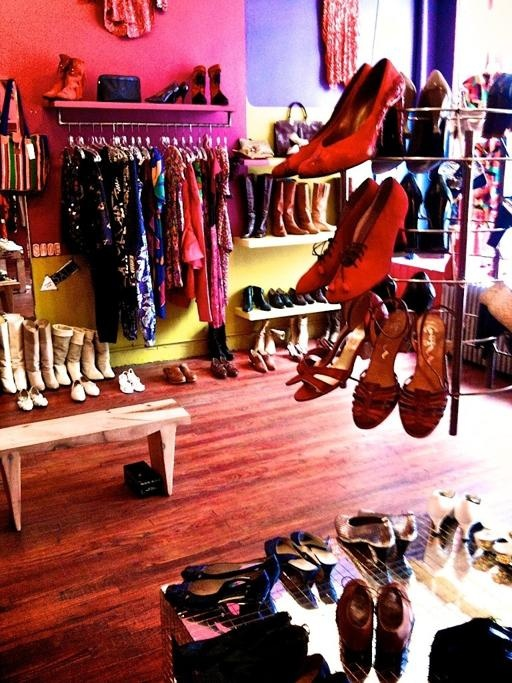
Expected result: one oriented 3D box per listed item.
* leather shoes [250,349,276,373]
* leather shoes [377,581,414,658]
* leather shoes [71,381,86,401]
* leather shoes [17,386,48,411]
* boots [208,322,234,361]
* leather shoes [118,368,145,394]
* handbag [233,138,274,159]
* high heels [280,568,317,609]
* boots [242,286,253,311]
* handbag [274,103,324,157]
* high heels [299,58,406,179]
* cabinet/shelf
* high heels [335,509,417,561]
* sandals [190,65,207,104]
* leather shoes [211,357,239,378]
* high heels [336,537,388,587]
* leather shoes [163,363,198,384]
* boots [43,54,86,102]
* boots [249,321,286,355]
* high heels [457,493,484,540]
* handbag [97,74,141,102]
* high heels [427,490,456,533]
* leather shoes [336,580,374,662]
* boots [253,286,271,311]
[{"bbox_3d":[0.044,0.175,4.507,0.137,0.084,0.249,-8,39,-42],"label":"leather shoes"},{"bbox_3d":[0.301,0.600,1.121,0.053,0.062,0.158,-11,30,11],"label":"leather shoes"},{"bbox_3d":[-1.334,0.367,3.765,0.074,0.070,0.190,-6,30,-16],"label":"leather shoes"},{"bbox_3d":[-1.645,0.419,3.676,0.141,0.061,0.192,-17,24,-29],"label":"leather shoes"},{"bbox_3d":[-0.329,0.015,4.724,0.227,0.321,0.395,1,9,-17],"label":"boots"},{"bbox_3d":[-1.011,0.318,4.029,0.134,0.053,0.222,-4,29,-22],"label":"leather shoes"},{"bbox_3d":[-0.029,-1.689,4.484,0.327,0.213,0.257,3,8,1],"label":"handbag"},{"bbox_3d":[0.109,0.618,1.287,0.035,0.047,0.119,-16,28,-24],"label":"high heels"},{"bbox_3d":[-0.088,-0.390,4.804,0.080,0.266,0.106,-1,-23,0],"label":"boots"},{"bbox_3d":[0.395,-2.005,4.797,0.449,0.451,0.164,-5,15,-8],"label":"handbag"},{"bbox_3d":[0.186,-0.421,0.966,0.294,0.124,0.098,-41,29,-21],"label":"high heels"},{"bbox_3d":[0.147,-0.828,3.983,1.407,1.330,0.465,-12,23,-32],"label":"cabinet/shelf"},{"bbox_3d":[0.362,0.586,1.578,0.114,0.083,0.190,-5,11,-21],"label":"high heels"},{"bbox_3d":[-0.475,-2.080,4.164,0.114,0.334,0.231,2,8,-12],"label":"sandals"},{"bbox_3d":[-0.299,0.229,4.372,0.139,0.074,0.203,-7,23,-25],"label":"leather shoes"},{"bbox_3d":[0.287,0.643,1.470,0.082,0.234,0.072,5,57,48],"label":"high heels"},{"bbox_3d":[-0.669,0.270,4.236,0.141,0.088,0.249,-7,13,-30],"label":"leather shoes"},{"bbox_3d":[-1.394,-1.903,3.674,0.265,0.346,0.143,1,8,-17],"label":"boots"},{"bbox_3d":[0.102,-0.032,4.902,0.183,0.330,0.477,-2,9,-21],"label":"boots"},{"bbox_3d":[0.657,0.533,1.557,0.051,0.141,0.058,-12,-28,36],"label":"high heels"},{"bbox_3d":[-1.033,-1.892,3.804,0.303,0.209,0.052,1,8,-17],"label":"handbag"},{"bbox_3d":[0.591,0.532,1.617,0.054,0.059,0.148,-7,28,22],"label":"high heels"},{"bbox_3d":[0.229,0.614,1.162,0.086,0.081,0.250,1,6,10],"label":"leather shoes"},{"bbox_3d":[0.035,-0.408,4.806,0.098,0.129,0.298,-11,33,-19],"label":"boots"}]
